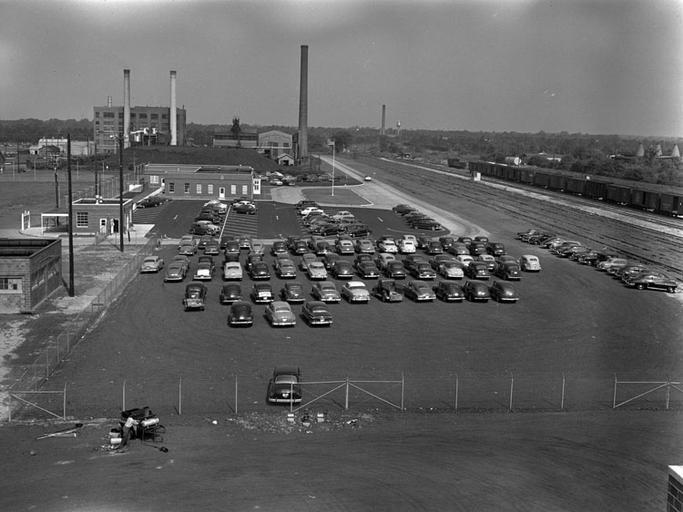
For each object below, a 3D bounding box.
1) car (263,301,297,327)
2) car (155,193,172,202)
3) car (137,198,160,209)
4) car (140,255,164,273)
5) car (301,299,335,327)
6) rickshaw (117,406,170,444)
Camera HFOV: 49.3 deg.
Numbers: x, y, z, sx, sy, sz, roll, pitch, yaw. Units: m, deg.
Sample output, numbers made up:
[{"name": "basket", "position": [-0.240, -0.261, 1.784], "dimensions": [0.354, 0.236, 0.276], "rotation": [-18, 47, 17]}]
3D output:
[{"name": "car", "position": [-3.746, 3.667, 45.878], "dimensions": [1.638, 1.195, 2.218], "rotation": [-2, 15, -13]}, {"name": "car", "position": [-25.071, -8.125, 104.731], "dimensions": [1.332, 0.992, 2.922], "rotation": [-4, 4, -28]}, {"name": "car", "position": [-25.501, -6.883, 97.920], "dimensions": [2.817, 0.953, 1.223], "rotation": [0, 14, -20]}, {"name": "car", "position": [-15.265, 0.765, 59.908], "dimensions": [1.339, 1.000, 2.379], "rotation": [2, 14, 0]}, {"name": "car", "position": [-1.520, 3.656, 46.287], "dimensions": [1.476, 1.210, 2.227], "rotation": [-3, 15, -17]}, {"name": "rickshaw", "position": [-8.605, 7.254, 32.045], "dimensions": [1.647, 1.289, 1.340], "rotation": [0, 5, -18]}]
